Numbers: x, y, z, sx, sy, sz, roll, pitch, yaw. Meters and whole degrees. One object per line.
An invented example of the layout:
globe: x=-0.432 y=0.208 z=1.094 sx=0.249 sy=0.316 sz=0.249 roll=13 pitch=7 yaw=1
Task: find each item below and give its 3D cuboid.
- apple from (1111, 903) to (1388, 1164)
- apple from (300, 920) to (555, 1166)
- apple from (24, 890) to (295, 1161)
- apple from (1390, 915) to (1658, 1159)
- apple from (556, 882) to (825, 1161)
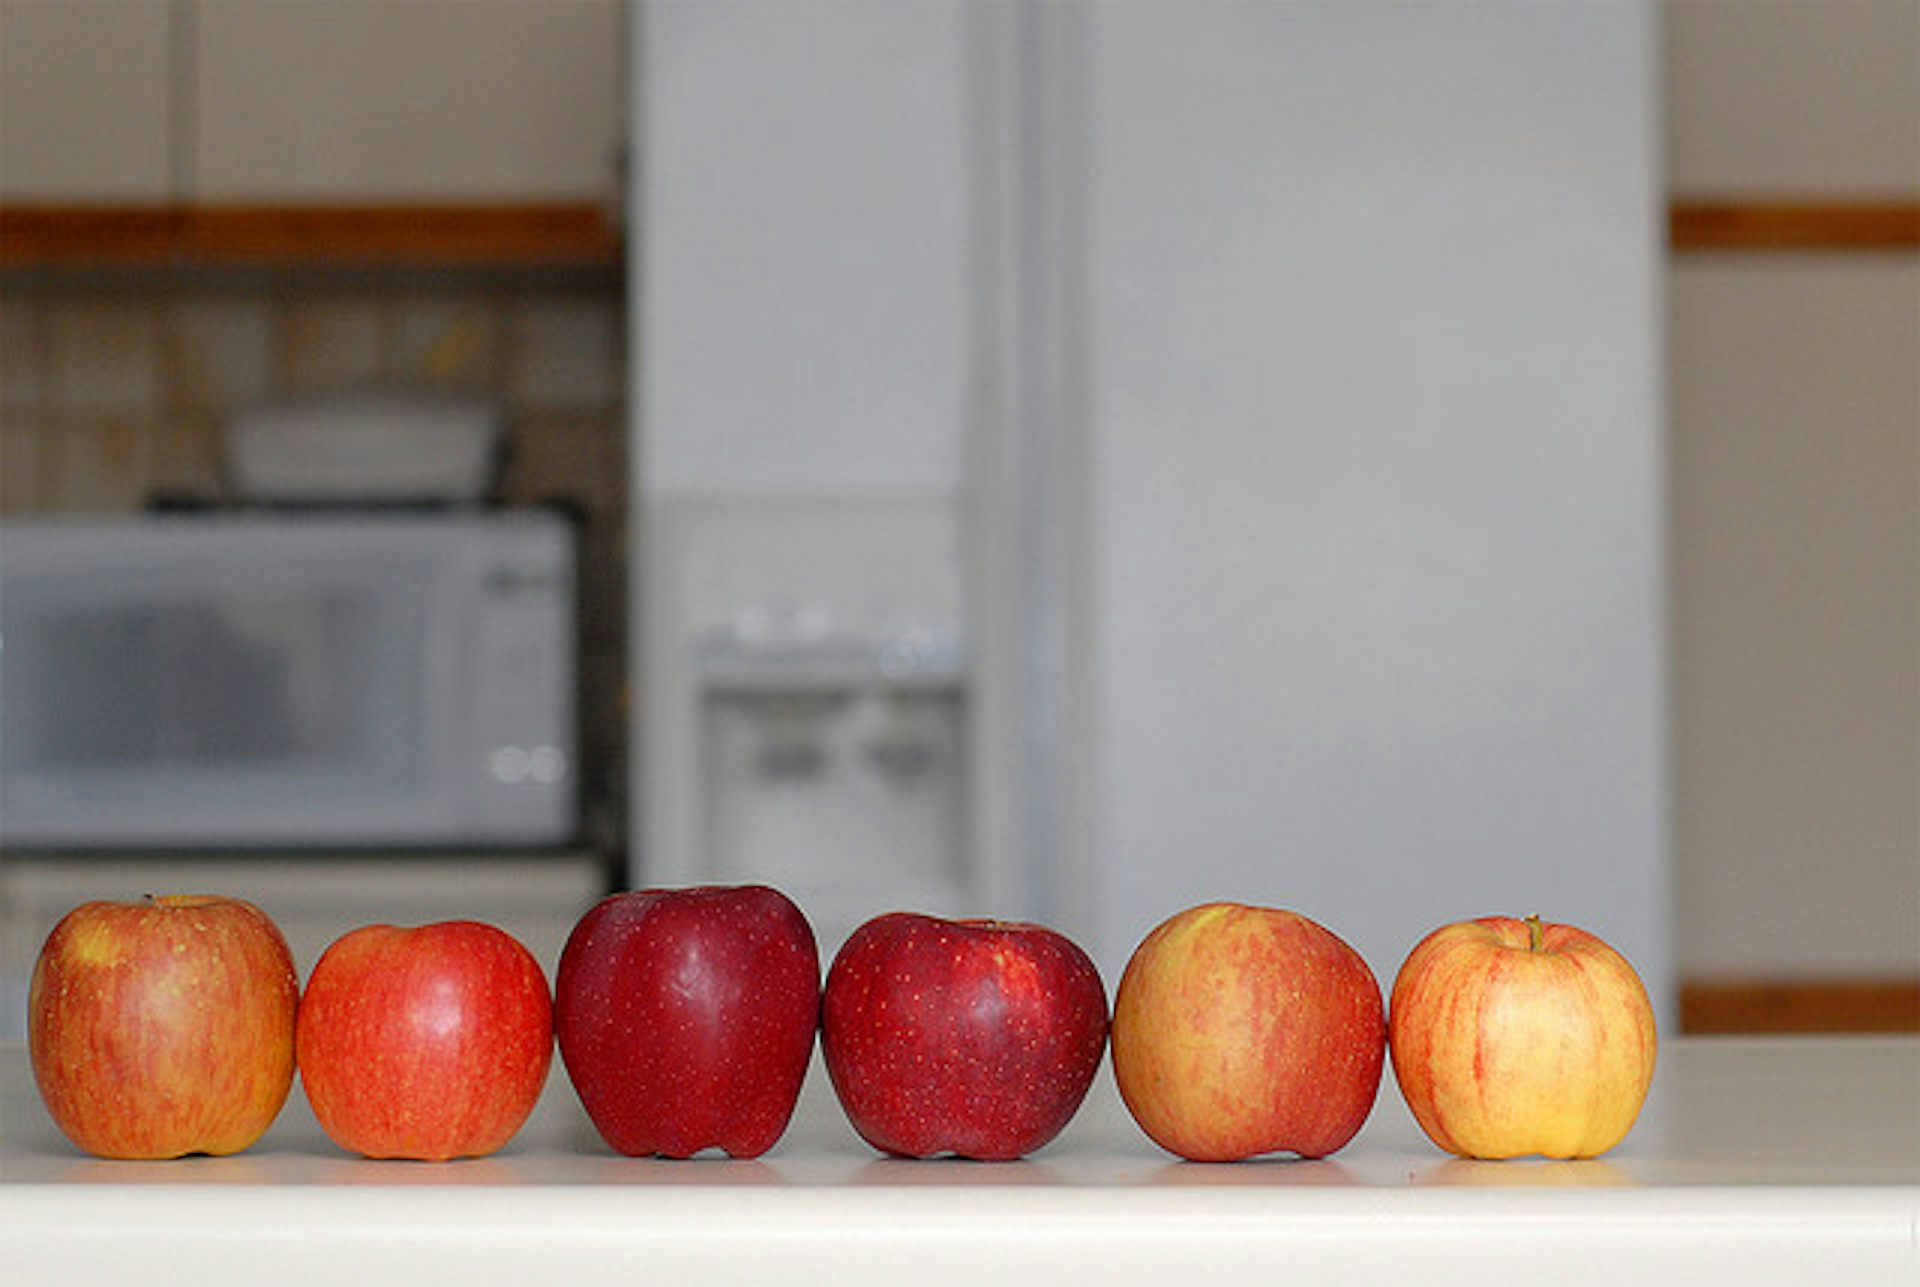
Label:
apple: x=0.173 y=0.241 z=1.460 sx=0.154 sy=0.157 sz=0.157 roll=-3 pitch=-12 yaw=0
apple: x=-0.337 y=0.251 z=1.507 sx=0.155 sy=0.153 sz=0.158 roll=-1 pitch=-6 yaw=-19
apple: x=-0.476 y=0.243 z=1.467 sx=0.148 sy=0.152 sz=0.153 roll=-1 pitch=-12 yaw=-4
apple: x=0.352 y=0.246 z=1.530 sx=0.149 sy=0.153 sz=0.150 roll=0 pitch=-7 yaw=-7
apple: x=-0.176 y=0.241 z=1.522 sx=0.169 sy=0.183 sz=0.176 roll=-2 pitch=-5 yaw=5
